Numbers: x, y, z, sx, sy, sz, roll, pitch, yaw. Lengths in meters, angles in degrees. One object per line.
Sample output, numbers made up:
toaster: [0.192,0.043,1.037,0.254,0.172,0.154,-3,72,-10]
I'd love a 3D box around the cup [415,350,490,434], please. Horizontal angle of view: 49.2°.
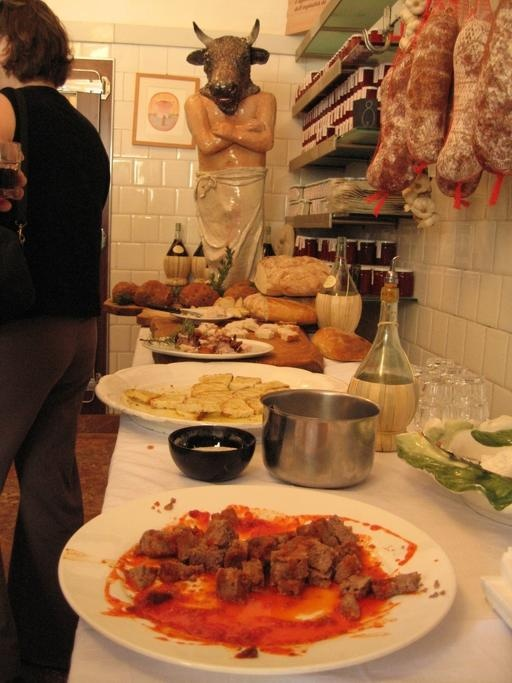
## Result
cup: [0.304,0.083,0.932,0.127,0.107,0.124,1,9,0]

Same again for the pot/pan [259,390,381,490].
pot/pan: [0.080,0.110,0.731,0.138,0.088,0.130,2,-1,-27]
